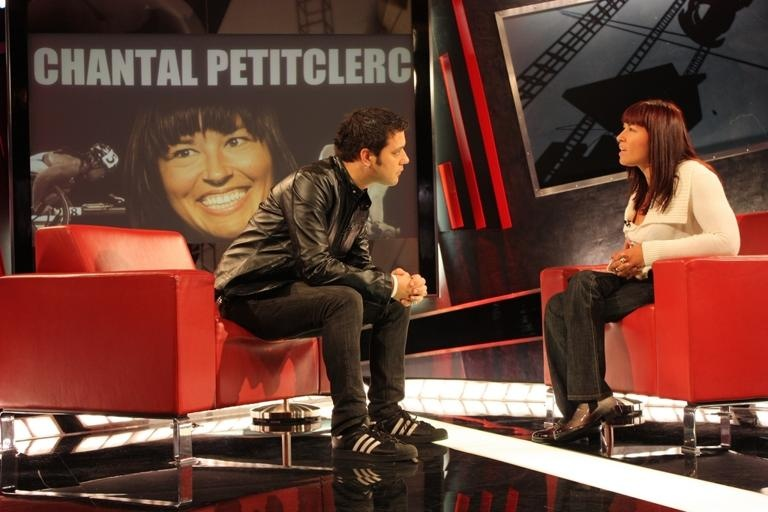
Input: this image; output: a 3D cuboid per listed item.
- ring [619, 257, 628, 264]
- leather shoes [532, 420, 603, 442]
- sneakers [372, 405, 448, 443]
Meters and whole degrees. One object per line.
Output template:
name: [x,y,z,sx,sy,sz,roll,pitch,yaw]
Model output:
ring: [1.110,0.015,3.455,0.025,0.025,0.025,3,12,-1]
leather shoes: [0.832,0.805,3.433,0.317,0.096,0.124,-6,-5,-4]
sneakers: [0.108,0.756,3.449,0.387,0.173,0.143,2,-3,-5]
